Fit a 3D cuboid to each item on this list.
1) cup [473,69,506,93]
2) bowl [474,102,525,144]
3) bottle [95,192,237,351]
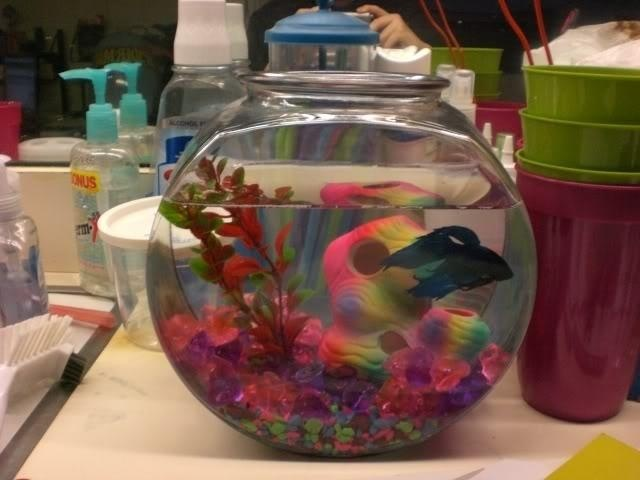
[{"bbox_3d":[0.288,-0.267,0.949,0.045,0.028,0.045,-2,14,1],"label":"cup"},{"bbox_3d":[0.277,-0.191,0.933,0.100,0.074,0.090,-1,12,-1],"label":"bowl"},{"bbox_3d":[-0.157,0.030,0.731,0.203,0.193,0.193,-6,13,-40],"label":"bottle"}]
